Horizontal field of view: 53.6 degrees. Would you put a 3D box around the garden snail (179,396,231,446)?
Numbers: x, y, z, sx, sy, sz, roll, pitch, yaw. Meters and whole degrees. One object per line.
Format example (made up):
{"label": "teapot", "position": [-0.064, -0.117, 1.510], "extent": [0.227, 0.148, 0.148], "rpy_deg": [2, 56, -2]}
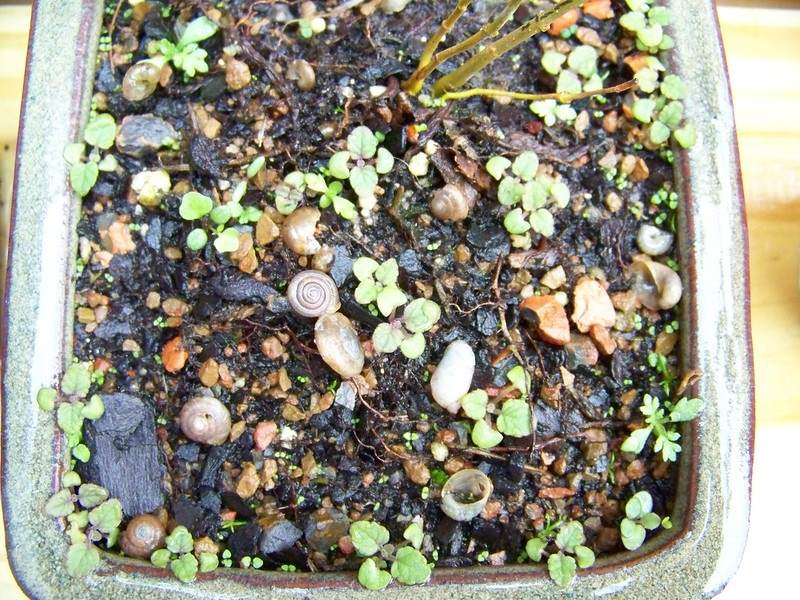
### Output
{"label": "garden snail", "position": [-0.529, 0.333, 2.144], "extent": [0.139, 0.166, 0.062], "rpy_deg": [-7, 21, 6]}

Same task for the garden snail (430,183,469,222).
{"label": "garden snail", "position": [0.133, -0.265, 2.156], "extent": [0.090, 0.100, 0.030], "rpy_deg": [1, 10, 12]}

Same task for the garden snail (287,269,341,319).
{"label": "garden snail", "position": [-0.234, -0.010, 2.134], "extent": [0.134, 0.126, 0.069], "rpy_deg": [-17, -15, -11]}
